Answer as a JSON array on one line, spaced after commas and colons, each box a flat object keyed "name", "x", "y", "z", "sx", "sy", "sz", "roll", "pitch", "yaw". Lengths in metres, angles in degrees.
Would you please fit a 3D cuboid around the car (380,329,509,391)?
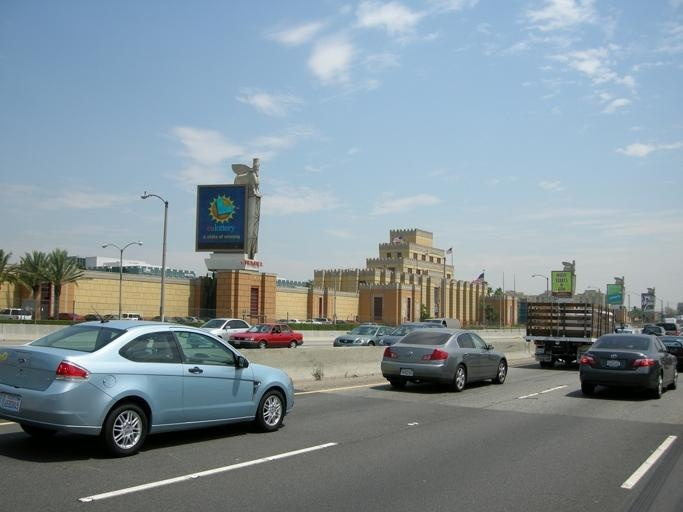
[{"name": "car", "x": 3.286, "y": 3.210, "z": 18.565, "sx": 2.537, "sy": 1.873, "sz": 4.805, "roll": -1, "pitch": -5, "yaw": 44}]
